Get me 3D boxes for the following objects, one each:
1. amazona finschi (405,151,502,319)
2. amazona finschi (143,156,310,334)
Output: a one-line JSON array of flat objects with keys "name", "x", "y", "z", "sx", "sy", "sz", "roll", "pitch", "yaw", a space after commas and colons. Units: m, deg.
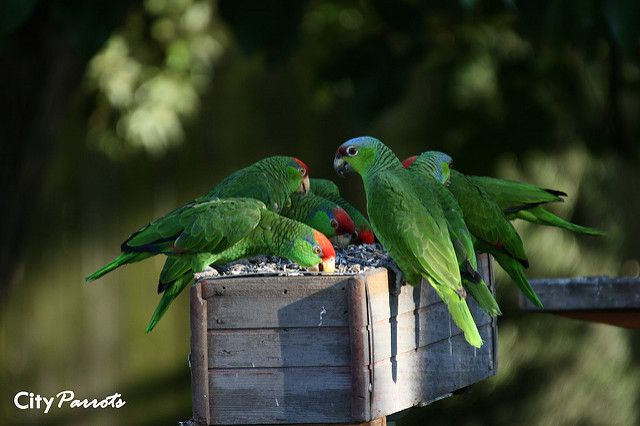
[{"name": "amazona finschi", "x": 0.908, "y": 0.173, "z": 6.866, "sx": 0.296, "sy": 1.251, "sz": 0.509, "roll": -11, "pitch": -22, "yaw": -28}, {"name": "amazona finschi", "x": -0.634, "y": 0.058, "z": 8.034, "sx": 1.549, "sy": 1.858, "sz": 0.816, "roll": -2, "pitch": 1, "yaw": -12}]
